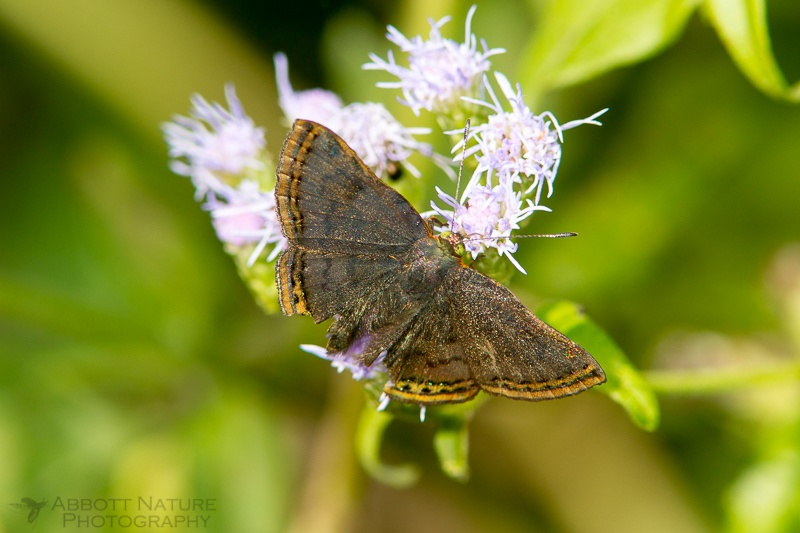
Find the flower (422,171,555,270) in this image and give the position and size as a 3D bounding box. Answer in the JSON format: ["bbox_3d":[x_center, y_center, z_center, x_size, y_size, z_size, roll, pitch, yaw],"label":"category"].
[{"bbox_3d":[0.327,-0.155,3.117,0.360,0.357,0.138,-49,-10,6],"label":"flower"}]

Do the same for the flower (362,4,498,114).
[{"bbox_3d":[0.144,-0.700,3.220,0.419,0.456,0.248,13,-6,11],"label":"flower"}]
